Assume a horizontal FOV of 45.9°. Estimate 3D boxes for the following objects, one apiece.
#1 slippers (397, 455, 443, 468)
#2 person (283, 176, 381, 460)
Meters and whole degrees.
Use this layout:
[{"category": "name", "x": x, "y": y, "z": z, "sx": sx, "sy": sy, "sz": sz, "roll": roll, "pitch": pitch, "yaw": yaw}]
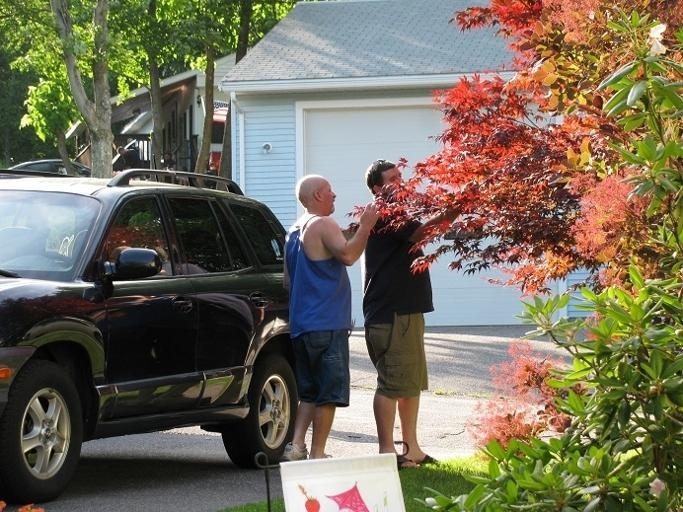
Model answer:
[{"category": "slippers", "x": 0.612, "y": 1.512, "z": 6.099, "sx": 0.171, "sy": 0.123, "sz": 0.480, "roll": -6, "pitch": -15, "yaw": 40}, {"category": "person", "x": -0.147, "y": 0.398, "z": 5.447, "sx": 0.512, "sy": 1.916, "sz": 0.807, "roll": 3, "pitch": 2, "yaw": -5}]
